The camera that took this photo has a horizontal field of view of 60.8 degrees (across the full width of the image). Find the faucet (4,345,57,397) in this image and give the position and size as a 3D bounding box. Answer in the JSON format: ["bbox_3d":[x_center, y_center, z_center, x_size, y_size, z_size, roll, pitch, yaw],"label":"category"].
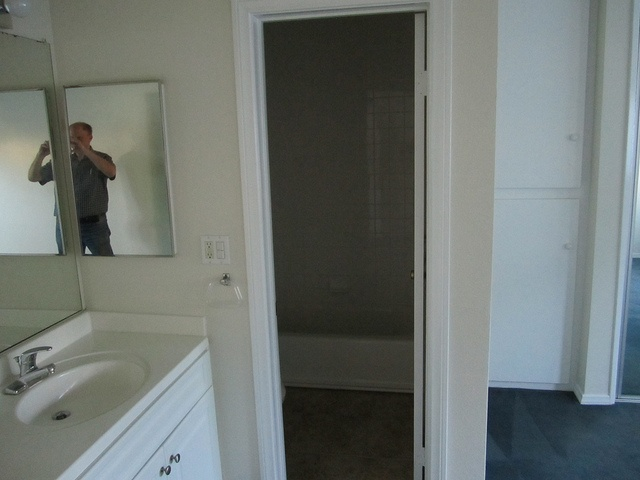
[{"bbox_3d":[-1.247,0.564,2.457,0.098,0.180,0.288,8,14,25],"label":"faucet"}]

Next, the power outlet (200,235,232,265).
[{"bbox_3d":[-0.518,0.043,2.744,0.131,0.147,0.017,5,26,4],"label":"power outlet"}]
